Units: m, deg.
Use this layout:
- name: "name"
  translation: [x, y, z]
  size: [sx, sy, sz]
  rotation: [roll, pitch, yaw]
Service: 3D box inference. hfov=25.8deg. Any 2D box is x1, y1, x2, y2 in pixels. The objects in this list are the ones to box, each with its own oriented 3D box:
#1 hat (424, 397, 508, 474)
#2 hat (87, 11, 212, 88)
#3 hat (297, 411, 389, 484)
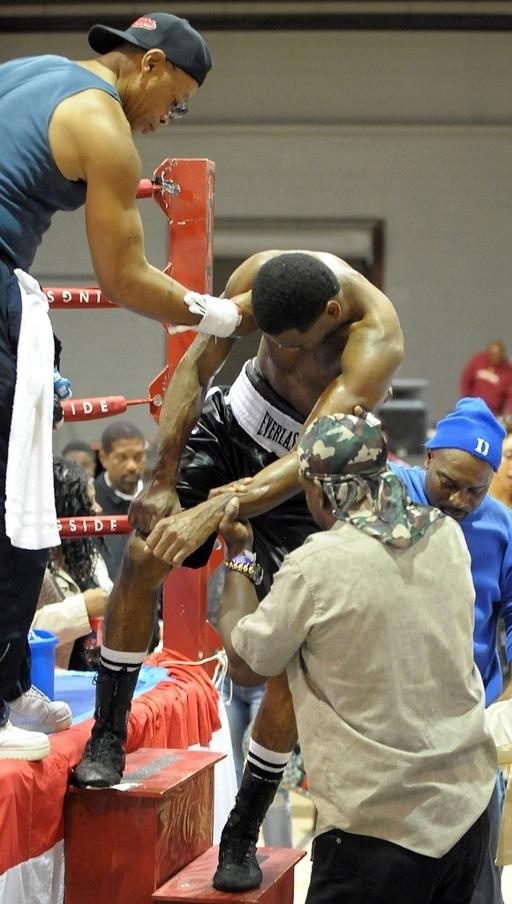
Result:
- name: "hat"
  translation: [0.513, -0.046, 2.715]
  size: [0.141, 0.156, 0.194]
  rotation: [33, -13, -26]
- name: "hat"
  translation: [-0.223, -0.843, 2.344]
  size: [0.229, 0.124, 0.138]
  rotation: [27, 7, -17]
- name: "hat"
  translation: [0.144, -0.006, 1.887]
  size: [0.138, 0.106, 0.099]
  rotation: [2, 8, 22]
